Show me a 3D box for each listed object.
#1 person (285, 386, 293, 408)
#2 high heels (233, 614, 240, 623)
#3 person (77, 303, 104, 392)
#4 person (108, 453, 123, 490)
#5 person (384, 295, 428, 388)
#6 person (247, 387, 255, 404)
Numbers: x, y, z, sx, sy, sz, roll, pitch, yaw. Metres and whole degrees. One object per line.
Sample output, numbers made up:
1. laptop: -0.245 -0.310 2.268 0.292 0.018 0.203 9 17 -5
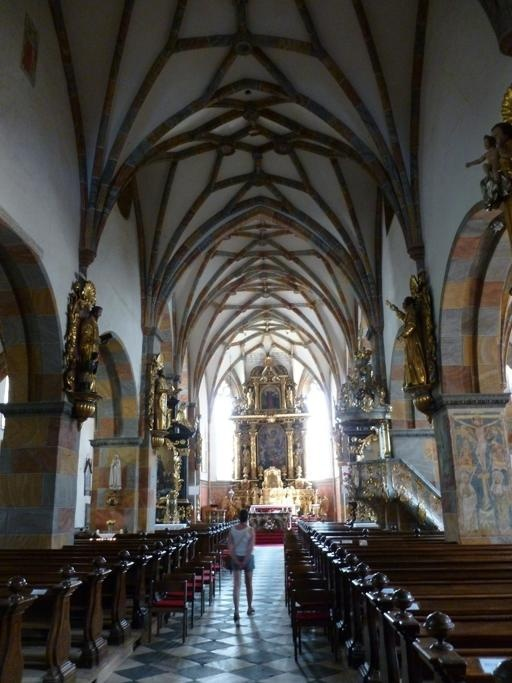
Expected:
1. person: 2.061 3.349 31.437 0.469 1.410 0.193 -3 -13 4
2. high heels: -0.252 3.643 6.824 0.049 0.098 0.145 0 -6 7
3. person: -3.019 0.105 9.339 0.341 1.683 0.505 -4 -14 10
4. person: -3.526 3.307 13.024 0.299 0.851 0.111 2 -14 -16
5. person: 2.741 0.005 9.249 0.507 1.806 0.549 -5 -14 13
6. person: -0.347 3.367 31.727 0.450 1.053 0.264 0 -14 -6
